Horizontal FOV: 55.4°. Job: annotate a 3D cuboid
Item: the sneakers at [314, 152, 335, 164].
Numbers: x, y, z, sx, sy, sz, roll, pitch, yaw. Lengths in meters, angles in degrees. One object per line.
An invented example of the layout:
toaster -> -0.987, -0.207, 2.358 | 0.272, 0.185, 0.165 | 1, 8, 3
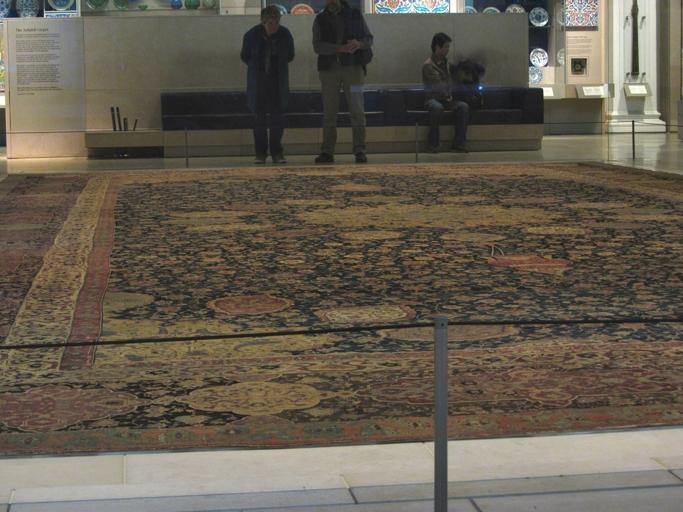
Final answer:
sneakers -> -0.299, -1.565, 10.500 | 0.204, 0.176, 0.323 | 8, 16, 36

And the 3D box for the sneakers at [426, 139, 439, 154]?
sneakers -> 1.492, -1.788, 10.703 | 0.187, 0.192, 0.180 | -1, 14, 6

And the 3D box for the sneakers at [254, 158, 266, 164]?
sneakers -> -1.312, -1.493, 10.288 | 0.184, 0.090, 0.108 | -3, 13, -7

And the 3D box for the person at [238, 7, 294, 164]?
person -> -1.237, -2.750, 10.439 | 0.869, 2.403, 0.714 | 0, 15, 9

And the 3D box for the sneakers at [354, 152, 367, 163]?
sneakers -> 0.278, -1.600, 10.614 | 0.169, 0.115, 0.364 | 1, 14, 0

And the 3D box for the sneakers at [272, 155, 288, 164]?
sneakers -> -1.015, -1.528, 10.370 | 0.130, 0.069, 0.223 | -3, 5, -27
